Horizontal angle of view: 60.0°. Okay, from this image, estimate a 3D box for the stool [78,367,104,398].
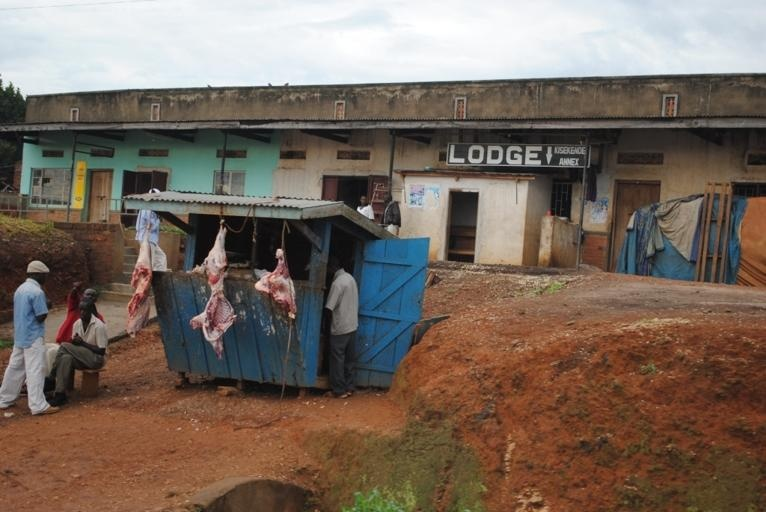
[{"bbox_3d":[-5.399,2.331,12.378,0.575,0.585,0.450,1,-1,-9],"label":"stool"}]

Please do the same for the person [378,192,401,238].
[{"bbox_3d":[0.242,-1.282,20.023,0.593,1.314,1.018,0,4,1],"label":"person"}]

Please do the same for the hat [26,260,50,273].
[{"bbox_3d":[-6.655,0.182,12.768,0.274,0.149,0.274,-7,6,-16],"label":"hat"}]

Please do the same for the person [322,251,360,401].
[{"bbox_3d":[-0.750,1.360,12.141,0.530,2.315,0.494,0,4,-1],"label":"person"}]

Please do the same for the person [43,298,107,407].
[{"bbox_3d":[-5.716,1.855,12.343,1.169,1.958,0.913,25,-39,-38],"label":"person"}]

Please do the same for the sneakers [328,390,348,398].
[{"bbox_3d":[-0.821,2.493,12.085,0.360,0.161,0.136,5,0,0],"label":"sneakers"}]
